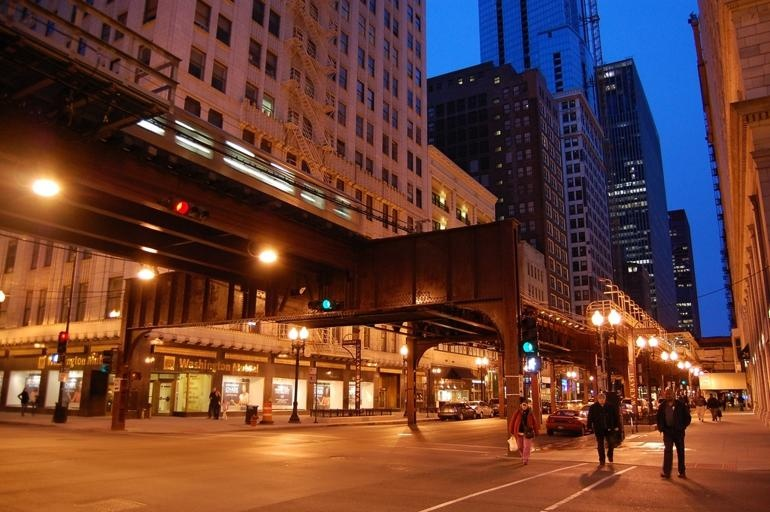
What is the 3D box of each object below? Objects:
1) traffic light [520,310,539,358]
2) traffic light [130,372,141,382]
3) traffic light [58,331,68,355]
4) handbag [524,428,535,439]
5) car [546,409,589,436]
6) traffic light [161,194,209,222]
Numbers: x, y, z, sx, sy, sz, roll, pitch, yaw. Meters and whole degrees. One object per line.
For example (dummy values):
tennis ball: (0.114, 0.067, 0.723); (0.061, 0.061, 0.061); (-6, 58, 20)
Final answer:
traffic light: (6.490, 3.590, 29.031); (0.730, 2.017, 0.897); (-3, -18, 10)
traffic light: (-15.555, 7.457, 39.793); (0.628, 0.476, 0.662); (-3, -8, 23)
traffic light: (-21.676, 5.680, 42.755); (0.483, 1.509, 1.150); (10, -21, -29)
handbag: (6.146, 7.576, 27.346); (0.640, 0.383, 0.355); (7, -13, -6)
car: (11.536, 10.541, 40.807); (2.463, 1.712, 1.606); (-4, -19, 13)
traffic light: (-8.517, -2.049, 26.768); (1.217, 0.302, 1.264); (29, 14, 11)
